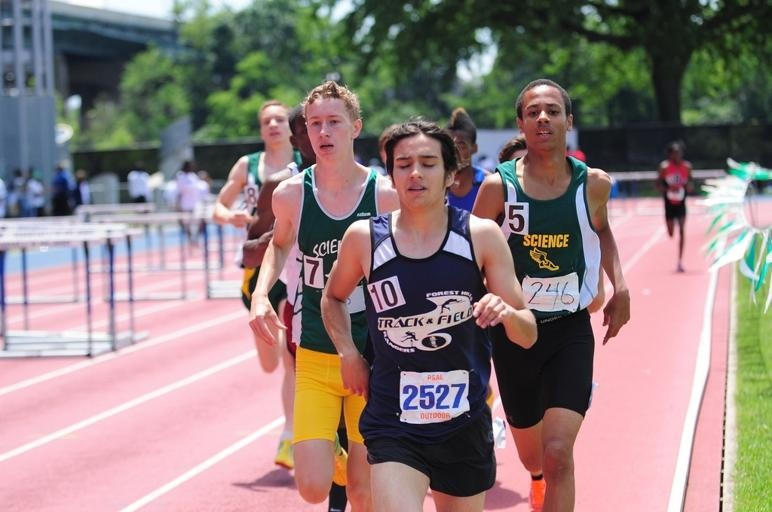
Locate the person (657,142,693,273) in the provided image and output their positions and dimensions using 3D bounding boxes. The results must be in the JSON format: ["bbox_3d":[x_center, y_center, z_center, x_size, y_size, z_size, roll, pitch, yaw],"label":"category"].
[{"bbox_3d":[5.261,-0.842,15.359,0.526,2.305,0.799,0,-6,9],"label":"person"}]
